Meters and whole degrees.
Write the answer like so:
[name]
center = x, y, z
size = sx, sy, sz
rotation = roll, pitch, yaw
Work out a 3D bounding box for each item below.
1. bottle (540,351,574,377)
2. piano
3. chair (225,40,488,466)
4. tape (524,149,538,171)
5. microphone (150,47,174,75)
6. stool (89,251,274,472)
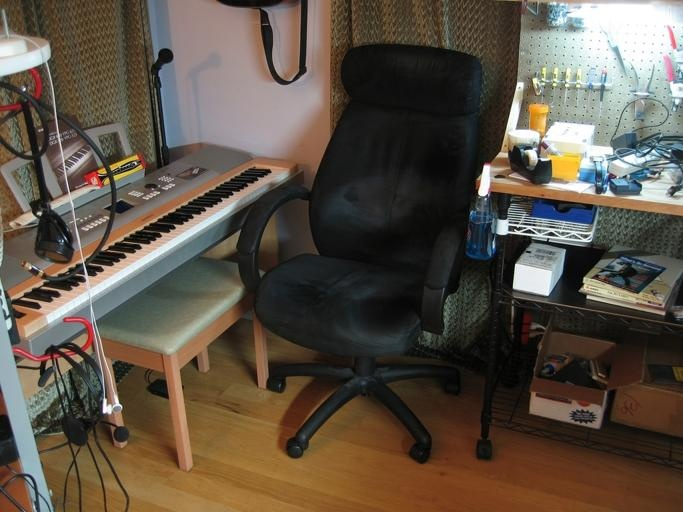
[bottle]
center = 0.914, 0.467, 2.441
size = 0.082, 0.032, 0.113
rotation = 11, 30, 32
[piano]
center = -0.716, -0.068, 2.266
size = 0.277, 0.154, 1.329
rotation = 19, 35, 25
[chair]
center = 0.092, 0.011, 2.415
size = 1.044, 1.769, 1.172
rotation = 14, 37, 23
[tape]
center = 0.649, -0.326, 1.947
size = 0.033, 0.064, 0.063
rotation = -1, 21, -10
[microphone]
center = -0.850, -0.912, 2.652
size = 0.101, 0.102, 0.139
rotation = -8, 33, -17
[stool]
center = -0.725, 0.415, 2.495
size = 0.589, 0.854, 0.640
rotation = 13, 25, 23
